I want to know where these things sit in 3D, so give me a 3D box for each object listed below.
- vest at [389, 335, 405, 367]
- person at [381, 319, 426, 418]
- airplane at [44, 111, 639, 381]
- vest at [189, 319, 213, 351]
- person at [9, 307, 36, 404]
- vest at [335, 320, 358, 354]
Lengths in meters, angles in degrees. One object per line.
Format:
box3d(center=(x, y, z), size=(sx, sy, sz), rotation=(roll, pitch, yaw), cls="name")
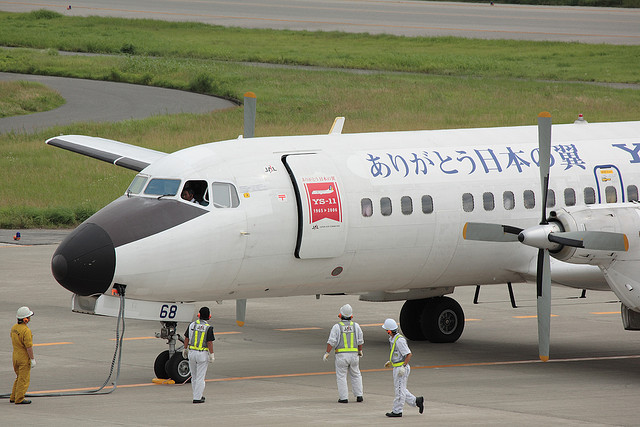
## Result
box3d(center=(2.251, 4.015, 28.478), size=(0.393, 0.864, 0.525), rotation=(2, 11, 1), cls="vest")
box3d(center=(2.428, 4.520, 28.654), size=(1.214, 2.673, 1.402), rotation=(2, 11, 3), cls="person")
box3d(center=(-0.242, 0.291, 50.022), size=(42.815, 12.882, 10.677), rotation=(0, -4, -5), cls="airplane")
box3d(center=(-3.591, 3.653, 29.205), size=(0.588, 0.824, 0.416), rotation=(3, 11, 6), cls="vest")
box3d(center=(-8.859, 4.236, 29.018), size=(0.724, 2.744, 0.830), rotation=(-1, 11, -16), cls="person")
box3d(center=(0.805, 3.696, 29.096), size=(0.653, 0.934, 0.409), rotation=(1, 11, -1), cls="vest")
